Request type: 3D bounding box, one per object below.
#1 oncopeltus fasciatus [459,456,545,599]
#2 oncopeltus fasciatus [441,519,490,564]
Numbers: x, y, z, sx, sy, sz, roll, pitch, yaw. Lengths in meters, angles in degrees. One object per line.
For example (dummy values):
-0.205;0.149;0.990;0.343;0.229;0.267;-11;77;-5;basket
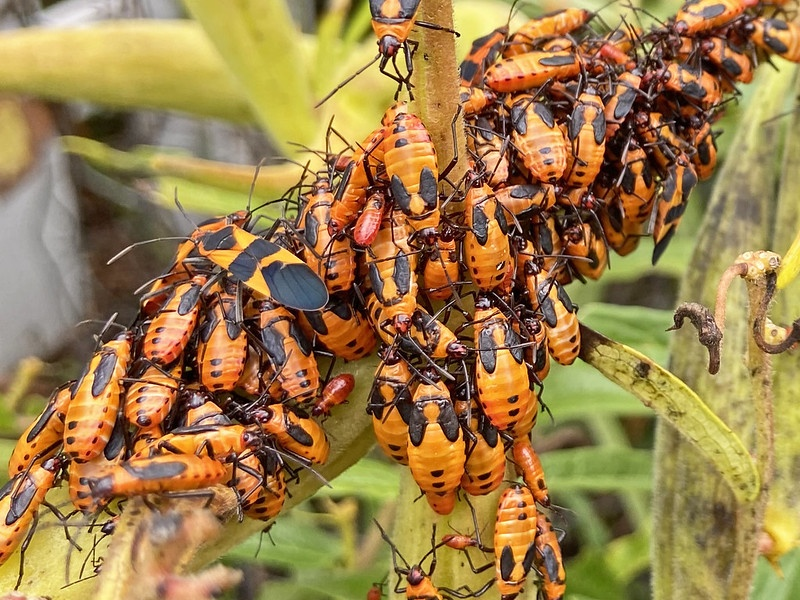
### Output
0.229;0.541;2.217;0.183;0.080;0.243;7;96;-30;oncopeltus fasciatus
0.152;0.548;2.195;0.098;0.030;0.069;21;87;-8;oncopeltus fasciatus
